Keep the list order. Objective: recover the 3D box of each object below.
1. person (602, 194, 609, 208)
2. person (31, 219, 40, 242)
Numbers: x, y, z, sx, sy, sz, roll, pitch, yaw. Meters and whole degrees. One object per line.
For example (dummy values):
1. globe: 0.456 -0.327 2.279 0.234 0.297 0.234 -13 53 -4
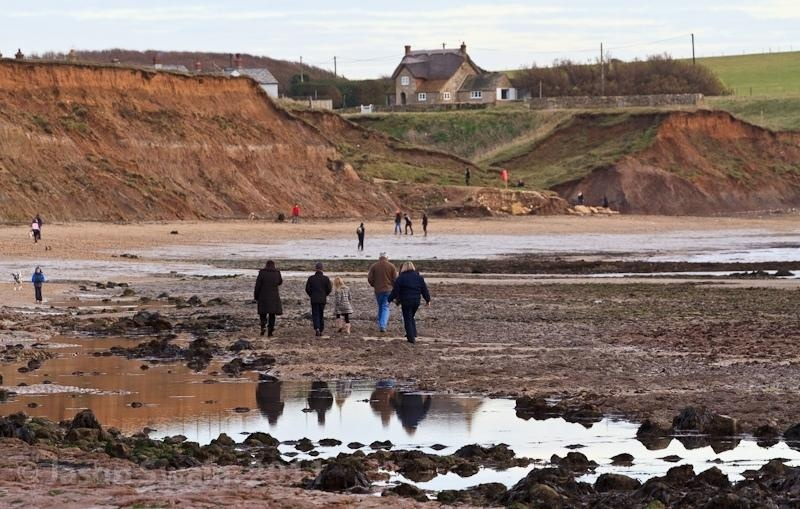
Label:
1. person: 17.561 -4.385 167.626 0.373 1.010 0.523 2 5 -37
2. person: -24.804 -1.580 133.088 0.613 1.539 1.722 -1 5 -10
